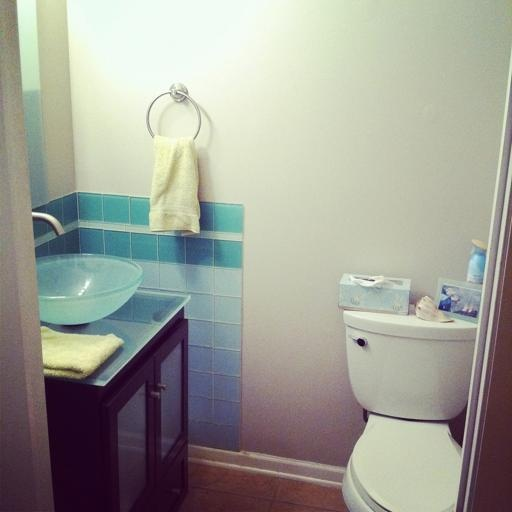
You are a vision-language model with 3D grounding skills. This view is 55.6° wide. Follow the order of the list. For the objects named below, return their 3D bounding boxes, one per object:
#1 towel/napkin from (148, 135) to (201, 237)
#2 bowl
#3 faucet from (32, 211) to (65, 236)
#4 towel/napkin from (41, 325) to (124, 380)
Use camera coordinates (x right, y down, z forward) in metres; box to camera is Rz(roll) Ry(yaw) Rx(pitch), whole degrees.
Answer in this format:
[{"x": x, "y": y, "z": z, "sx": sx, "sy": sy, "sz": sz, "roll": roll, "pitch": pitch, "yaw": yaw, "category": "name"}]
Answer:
[{"x": -0.301, "y": -0.249, "z": 1.769, "sx": 0.174, "sy": 0.355, "sz": 0.100, "roll": 1, "pitch": 5, "yaw": 0, "category": "towel/napkin"}, {"x": -0.593, "y": 0.076, "z": 1.775, "sx": 0.437, "sy": 0.180, "sz": 0.436, "roll": 1, "pitch": 3, "yaw": 0, "category": "bowl"}, {"x": -0.578, "y": -0.085, "z": 1.347, "sx": 0.066, "sy": 0.088, "sz": 0.221, "roll": -3, "pitch": 12, "yaw": -22, "category": "faucet"}, {"x": -0.508, "y": 0.256, "z": 1.291, "sx": 0.263, "sy": 0.058, "sz": 0.201, "roll": 4, "pitch": 12, "yaw": 13, "category": "towel/napkin"}]
